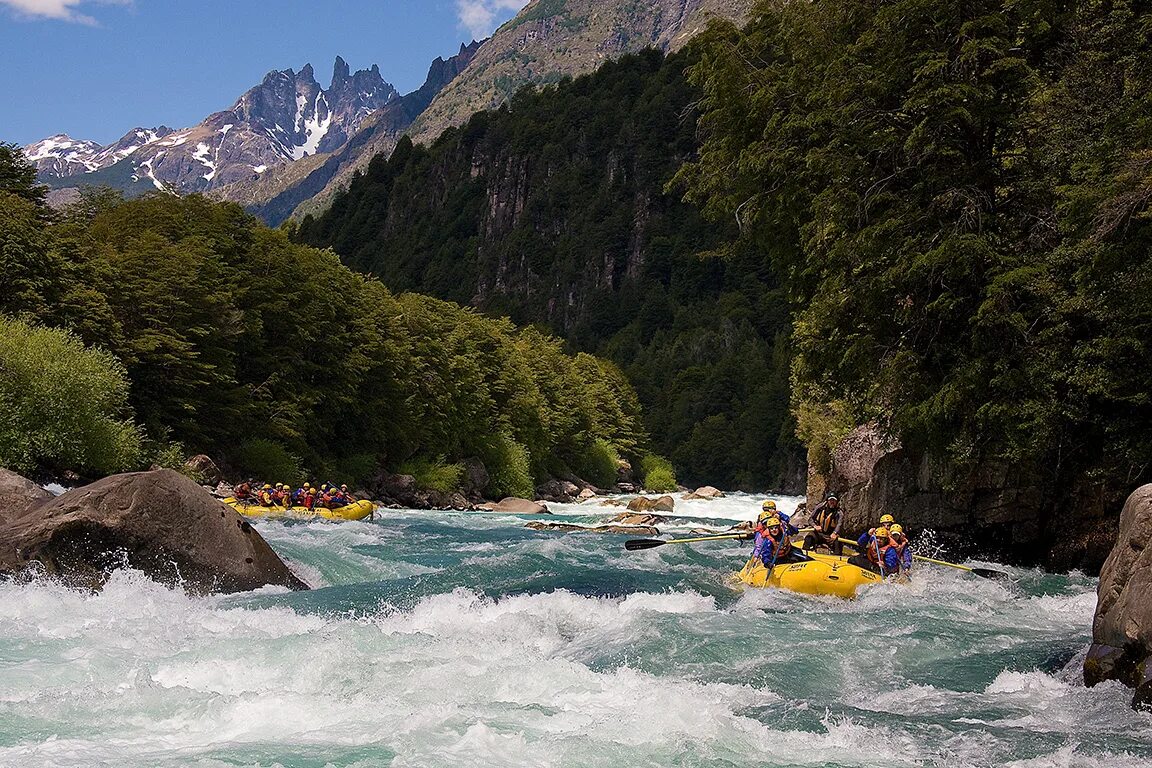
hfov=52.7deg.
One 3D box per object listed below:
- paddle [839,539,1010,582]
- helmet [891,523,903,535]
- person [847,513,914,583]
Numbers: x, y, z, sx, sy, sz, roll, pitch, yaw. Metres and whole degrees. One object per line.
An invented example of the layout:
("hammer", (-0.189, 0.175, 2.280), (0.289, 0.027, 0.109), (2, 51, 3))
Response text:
("paddle", (10.054, 5.380, 33.271), (3.635, 0.405, 0.383), (11, -22, 3))
("helmet", (9.093, 4.377, 32.928), (0.276, 0.228, 0.420), (-3, -7, 8))
("person", (8.739, 4.948, 33.118), (1.405, 0.969, 1.952), (10, -10, 14))
